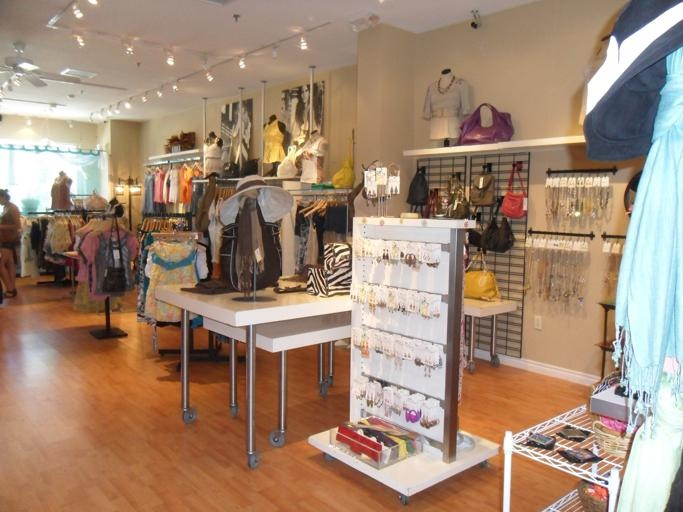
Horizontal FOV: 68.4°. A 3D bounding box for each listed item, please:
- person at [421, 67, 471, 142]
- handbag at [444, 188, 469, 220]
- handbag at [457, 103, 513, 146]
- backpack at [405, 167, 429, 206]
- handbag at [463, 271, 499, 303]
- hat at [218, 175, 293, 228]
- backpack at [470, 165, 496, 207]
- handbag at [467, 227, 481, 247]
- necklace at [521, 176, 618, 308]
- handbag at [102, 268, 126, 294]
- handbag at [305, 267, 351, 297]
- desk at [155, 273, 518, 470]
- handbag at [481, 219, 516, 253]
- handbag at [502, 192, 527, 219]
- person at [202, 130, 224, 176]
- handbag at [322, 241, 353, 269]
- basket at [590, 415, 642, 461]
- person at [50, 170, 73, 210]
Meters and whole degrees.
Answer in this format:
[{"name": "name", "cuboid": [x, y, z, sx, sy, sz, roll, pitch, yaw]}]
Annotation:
[{"name": "person", "cuboid": [1.213, -1.744, 5.805, 0.528, 0.801, 0.280, 4, 9, 32]}, {"name": "handbag", "cuboid": [1.285, -0.559, 5.513, 0.235, 0.309, 0.250, 1, 8, 15]}, {"name": "handbag", "cuboid": [1.576, -1.407, 5.463, 0.531, 0.459, 0.228, 4, 8, 40]}, {"name": "backpack", "cuboid": [0.937, -0.829, 6.133, 0.263, 0.498, 0.295, 1, 8, 11]}, {"name": "handbag", "cuboid": [1.415, 0.332, 5.138, 0.282, 0.283, 0.129, 13, 19, 40]}, {"name": "hat", "cuboid": [-0.613, -0.430, 3.538, 0.509, 0.273, 0.533, -12, -8, -14]}, {"name": "backpack", "cuboid": [1.563, -0.776, 5.549, 0.255, 0.459, 0.295, 4, 9, 31]}, {"name": "handbag", "cuboid": [1.496, -0.181, 5.621, 0.120, 0.211, 0.237, 1, 8, 10]}, {"name": "necklace", "cuboid": [2.284, -0.146, 5.103, 0.793, 1.417, 0.134, 6, 10, 43]}, {"name": "handbag", "cuboid": [-2.744, 0.310, 6.074, 0.289, 0.406, 0.158, 0, -1, -36]}, {"name": "handbag", "cuboid": [-0.089, 0.197, 3.725, 0.229, 0.112, 0.231, -3, 8, -36]}, {"name": "desk", "cuboid": [-0.534, 0.385, 3.917, 1.256, 1.149, 1.690, -6, 10, -40]}, {"name": "handbag", "cuboid": [1.704, -0.198, 5.426, 0.163, 0.339, 0.314, -3, 7, -40]}, {"name": "handbag", "cuboid": [1.826, -0.521, 5.301, 0.220, 0.292, 0.087, 12, 13, 36]}, {"name": "person", "cuboid": [-2.317, -1.823, 9.146, 0.341, 0.805, 0.632, -3, 8, -14]}, {"name": "handbag", "cuboid": [-0.036, 0.012, 3.880, 0.195, 0.194, 0.187, 3, -6, -38]}, {"name": "basket", "cuboid": [1.212, 0.822, 2.260, 0.147, 0.172, 0.223, 3, 9, 25]}, {"name": "person", "cuboid": [-6.271, -1.454, 11.329, 0.516, 0.844, 0.416, 1, 8, 14]}]
